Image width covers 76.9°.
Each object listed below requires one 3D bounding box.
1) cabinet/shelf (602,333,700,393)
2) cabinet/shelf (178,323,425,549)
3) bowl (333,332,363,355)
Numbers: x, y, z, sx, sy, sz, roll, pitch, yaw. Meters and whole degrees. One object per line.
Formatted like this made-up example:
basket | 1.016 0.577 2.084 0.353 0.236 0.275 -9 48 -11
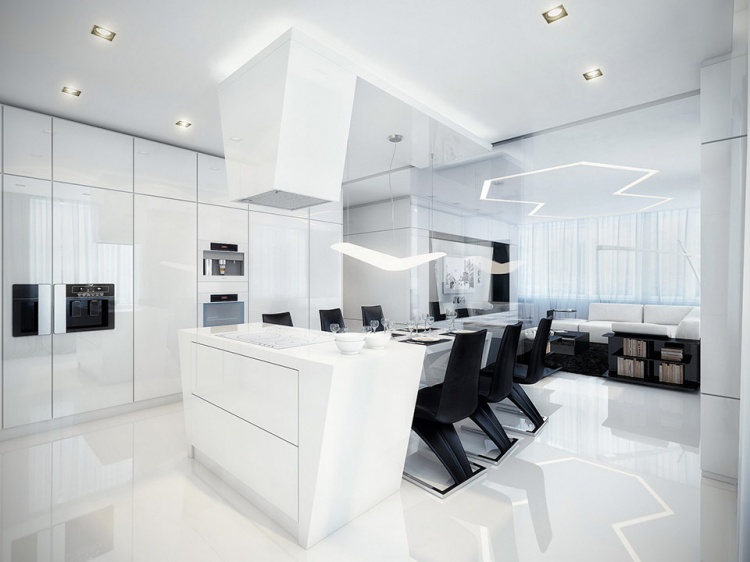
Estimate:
cabinet/shelf | 3.835 0.862 6.489 1.164 0.850 0.609 -1 -2 42
cabinet/shelf | -0.598 1.124 4.134 2.382 1.660 1.274 1 -2 44
bowl | -0.193 0.475 3.628 0.165 0.103 0.151 1 -3 0
